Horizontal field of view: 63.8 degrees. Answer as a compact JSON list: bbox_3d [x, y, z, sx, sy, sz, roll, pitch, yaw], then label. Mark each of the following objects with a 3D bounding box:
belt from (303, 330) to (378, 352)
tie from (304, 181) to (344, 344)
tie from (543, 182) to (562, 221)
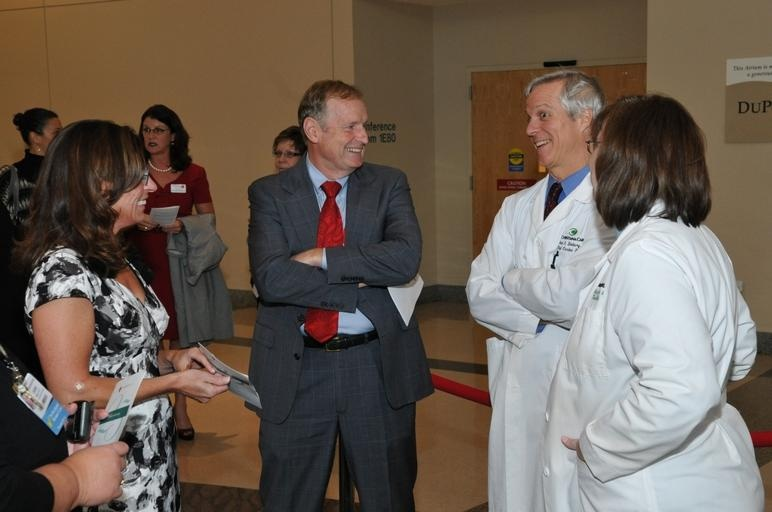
[{"bbox_3d":[-0.214,0.408,2.967,0.347,0.084,0.047,0,8,-2],"label":"belt"},{"bbox_3d":[-0.292,-0.086,3.166,0.155,0.751,0.087,5,43,0],"label":"tie"},{"bbox_3d":[0.828,-0.287,3.076,0.053,0.256,0.062,-2,-23,30],"label":"tie"}]
